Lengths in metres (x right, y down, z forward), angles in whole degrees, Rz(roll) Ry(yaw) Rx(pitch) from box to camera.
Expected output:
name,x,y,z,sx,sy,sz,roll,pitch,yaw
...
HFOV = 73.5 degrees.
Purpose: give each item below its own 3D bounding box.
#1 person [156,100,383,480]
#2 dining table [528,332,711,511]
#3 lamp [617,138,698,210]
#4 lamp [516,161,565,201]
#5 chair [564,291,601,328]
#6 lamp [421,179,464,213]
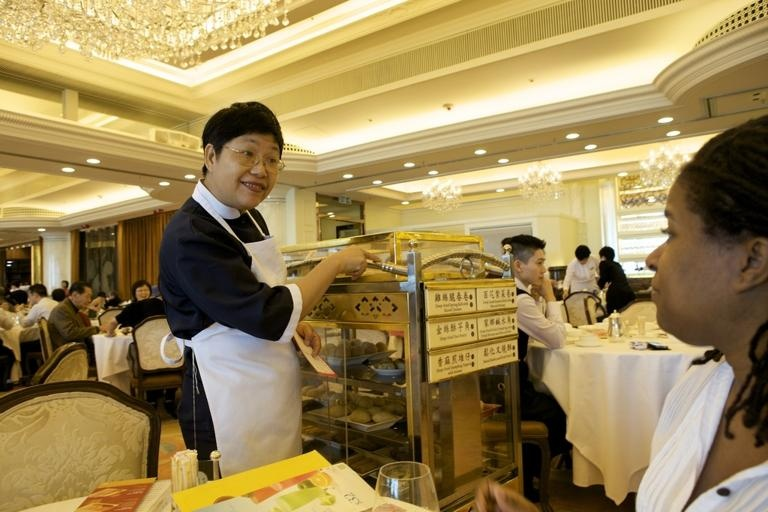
name,x,y,z,sx,sy,sz,roll,pitch,yaw
person,-0.506,0.098,2.020,0.684,1.446,0.374,-2,0,-22
dining table,1.406,1.002,3.559,1.250,0.802,1.163,-1,-9,2
lamp,5.323,-1.473,9.802,0.531,1.043,1.682,1,-1,-30
lamp,2.644,-1.199,8.681,0.748,0.911,0.698,-3,3,-6
chair,2.316,0.711,6.076,0.413,0.480,0.383,-9,-2,20
lamp,1.112,-1.098,9.544,0.650,0.600,0.659,6,6,27
